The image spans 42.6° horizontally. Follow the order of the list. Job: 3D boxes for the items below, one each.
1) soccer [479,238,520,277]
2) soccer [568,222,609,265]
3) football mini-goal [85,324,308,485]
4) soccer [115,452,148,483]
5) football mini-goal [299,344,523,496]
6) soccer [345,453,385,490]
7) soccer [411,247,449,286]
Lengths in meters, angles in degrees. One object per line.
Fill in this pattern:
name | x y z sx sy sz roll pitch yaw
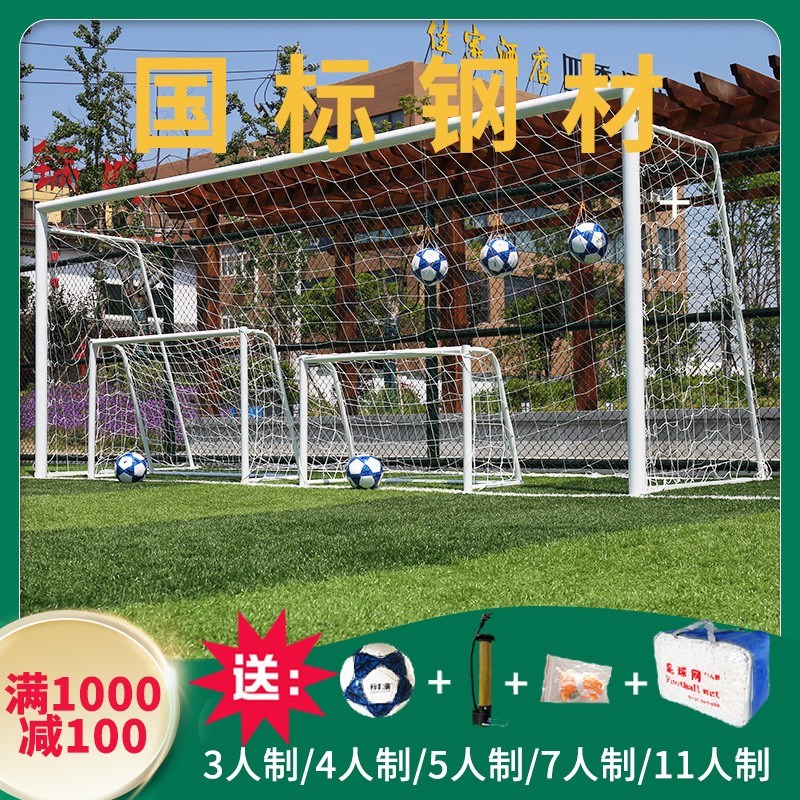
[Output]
soccer | 0.632 -0.924 6.551 0.255 0.247 0.230 1 3 26
soccer | 1.134 -0.960 6.164 0.223 0.250 0.255 0 3 11
football mini-goal | -1.904 -0.009 9.409 1.521 1.379 0.957 -3 9 20
soccer | -1.971 0.486 7.512 0.172 0.236 0.193 -2 4 -12
football mini-goal | 0.150 0.205 8.370 1.465 1.195 0.622 -6 -1 -19
soccer | -0.224 0.457 6.594 0.171 0.236 0.201 -2 2 4
soccer | 0.218 -0.933 7.034 0.215 0.276 0.213 -10 15 -42
